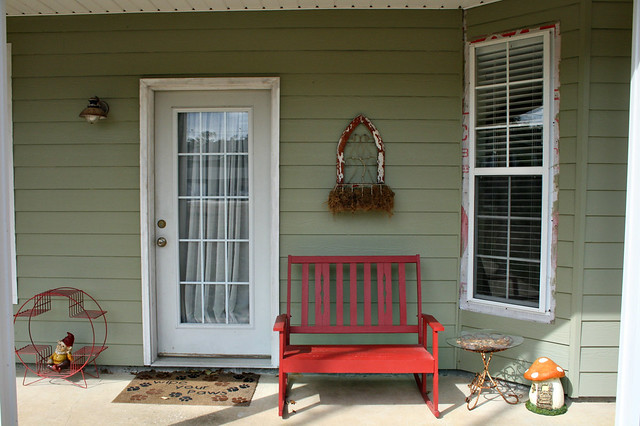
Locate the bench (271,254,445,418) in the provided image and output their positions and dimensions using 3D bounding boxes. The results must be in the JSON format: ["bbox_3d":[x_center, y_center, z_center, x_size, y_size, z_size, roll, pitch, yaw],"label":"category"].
[{"bbox_3d":[0.321,1.074,5.314,1.435,1.180,0.940,0,7,-1],"label":"bench"}]

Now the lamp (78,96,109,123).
[{"bbox_3d":[-2.134,-0.973,5.627,0.232,0.270,0.271,-2,-5,15],"label":"lamp"}]

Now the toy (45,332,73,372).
[{"bbox_3d":[-2.416,1.293,5.575,0.231,0.329,0.199,10,-9,-17],"label":"toy"}]
